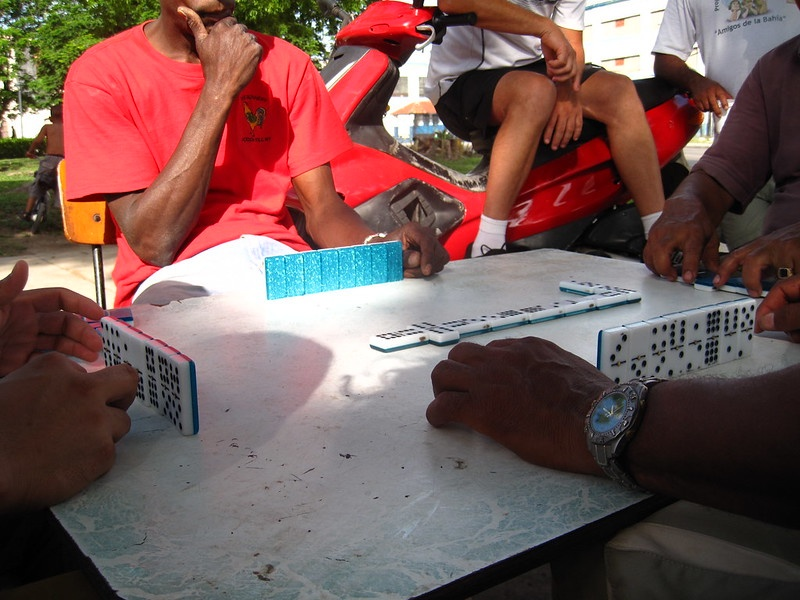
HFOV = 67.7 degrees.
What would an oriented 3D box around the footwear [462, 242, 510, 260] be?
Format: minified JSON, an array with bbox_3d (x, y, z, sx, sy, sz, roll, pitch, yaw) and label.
[{"bbox_3d":[0.443,-0.239,3.089,0.240,0.096,0.127,-10,8,31],"label":"footwear"}]

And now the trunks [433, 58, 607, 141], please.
[{"bbox_3d":[0.580,-1.074,3.362,0.682,0.234,0.491,-9,11,-32],"label":"trunks"}]
